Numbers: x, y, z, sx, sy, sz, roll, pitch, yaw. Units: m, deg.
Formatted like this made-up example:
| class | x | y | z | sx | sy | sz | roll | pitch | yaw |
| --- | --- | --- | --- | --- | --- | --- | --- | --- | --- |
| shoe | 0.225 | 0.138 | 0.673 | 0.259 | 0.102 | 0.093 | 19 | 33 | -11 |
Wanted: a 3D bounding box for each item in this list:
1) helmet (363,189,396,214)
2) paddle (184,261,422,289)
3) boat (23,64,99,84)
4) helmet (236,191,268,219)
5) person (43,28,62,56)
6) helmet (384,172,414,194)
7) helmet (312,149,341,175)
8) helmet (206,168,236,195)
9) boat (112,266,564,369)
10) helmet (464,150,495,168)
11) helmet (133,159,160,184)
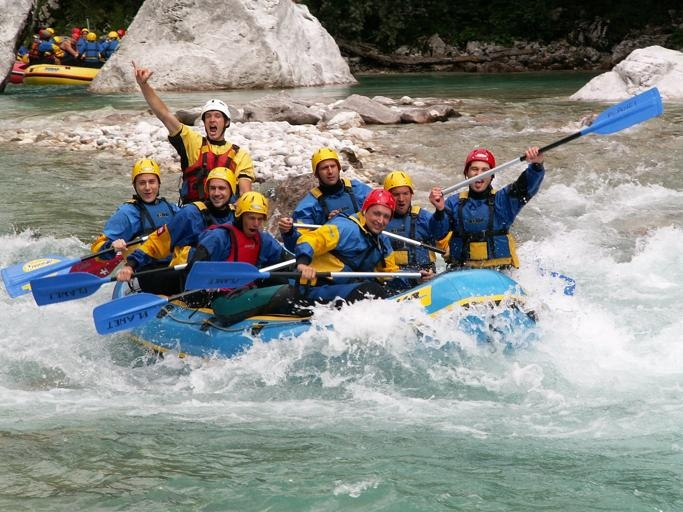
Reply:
| class | x | y | z | sx | sy | sz | roll | pitch | yaw |
| --- | --- | --- | --- | --- | --- | --- | --- | --- | --- |
| helmet | 0.365 | -0.521 | 6.849 | 0.296 | 0.214 | 0.199 | 2 | 9 | -2 |
| paddle | -0.522 | 0.186 | 6.768 | 1.850 | 0.287 | 0.368 | 0 | 8 | -13 |
| boat | -10.608 | -6.884 | 27.710 | 3.587 | 0.614 | 1.347 | 0 | 19 | 0 |
| helmet | -0.843 | -0.474 | 6.916 | 0.312 | 0.177 | 0.296 | 3 | -23 | -11 |
| person | -11.619 | -8.491 | 29.095 | 0.573 | 1.187 | 1.791 | 0 | 8 | -22 |
| helmet | 0.617 | -0.749 | 7.586 | 0.303 | 0.286 | 0.201 | -3 | 56 | -9 |
| helmet | -0.222 | -1.048 | 7.953 | 0.328 | 0.212 | 0.345 | -13 | 18 | -1 |
| helmet | -1.152 | -0.735 | 7.208 | 0.316 | 0.267 | 0.260 | 6 | 22 | 4 |
| boat | -0.044 | 0.575 | 6.699 | 3.230 | 0.372 | 1.342 | -2 | 5 | -7 |
| helmet | 1.541 | -1.078 | 7.939 | 0.383 | 0.165 | 0.433 | 3 | -9 | 12 |
| helmet | -2.076 | -0.931 | 7.828 | 0.342 | 0.213 | 0.359 | -2 | 22 | -16 |
